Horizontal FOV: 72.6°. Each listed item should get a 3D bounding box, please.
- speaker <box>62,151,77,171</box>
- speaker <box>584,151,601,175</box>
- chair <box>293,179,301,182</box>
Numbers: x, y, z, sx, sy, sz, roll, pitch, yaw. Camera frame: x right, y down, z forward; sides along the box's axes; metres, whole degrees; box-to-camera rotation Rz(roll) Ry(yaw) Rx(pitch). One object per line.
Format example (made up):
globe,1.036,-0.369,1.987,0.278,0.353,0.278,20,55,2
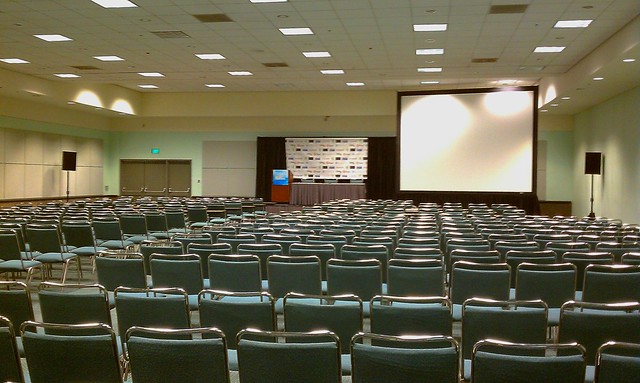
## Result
speaker,-12.717,-1.563,22.271,0.581,0.957,0.552,1,-2,-31
speaker,11.685,-1.246,18.930,0.610,0.930,0.500,0,-1,23
chair,-1.277,-0.590,24.504,0.418,0.200,0.444,0,-2,-4
